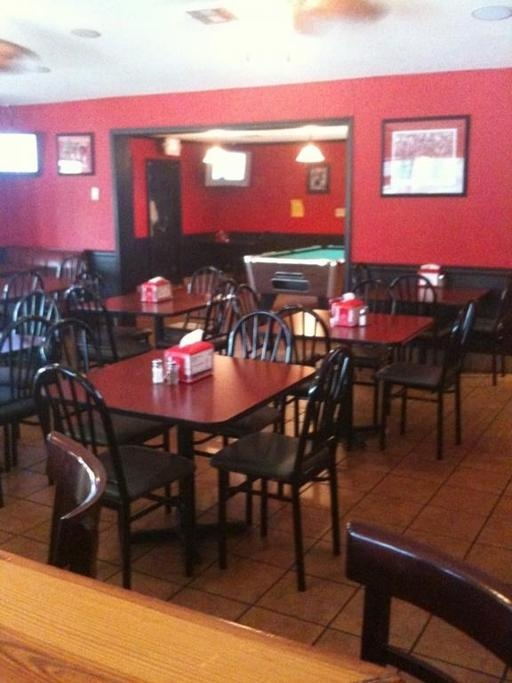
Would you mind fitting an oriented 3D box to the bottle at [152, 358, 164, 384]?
[{"bbox_3d":[-0.428,0.127,2.559,0.057,0.099,0.142,5,4,-10],"label":"bottle"}]

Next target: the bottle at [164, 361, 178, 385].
[{"bbox_3d":[-0.363,0.133,2.507,0.064,0.094,0.096,5,4,-8],"label":"bottle"}]

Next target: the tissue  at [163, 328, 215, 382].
[{"bbox_3d":[-0.306,0.067,2.620,0.139,0.195,0.214,5,13,30],"label":"tissue "}]

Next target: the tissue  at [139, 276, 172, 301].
[{"bbox_3d":[-0.833,-0.418,4.727,0.210,0.194,0.282,4,10,18],"label":"tissue "}]

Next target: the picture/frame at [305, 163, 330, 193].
[{"bbox_3d":[1.127,-3.000,10.607,0.530,0.565,0.083,11,20,36],"label":"picture/frame"}]

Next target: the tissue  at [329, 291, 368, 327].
[{"bbox_3d":[0.607,-0.208,3.838,0.231,0.269,0.290,-4,8,-11],"label":"tissue "}]
